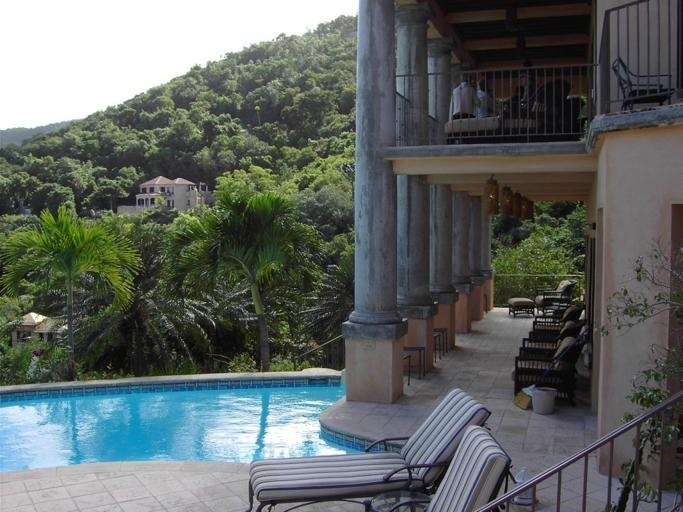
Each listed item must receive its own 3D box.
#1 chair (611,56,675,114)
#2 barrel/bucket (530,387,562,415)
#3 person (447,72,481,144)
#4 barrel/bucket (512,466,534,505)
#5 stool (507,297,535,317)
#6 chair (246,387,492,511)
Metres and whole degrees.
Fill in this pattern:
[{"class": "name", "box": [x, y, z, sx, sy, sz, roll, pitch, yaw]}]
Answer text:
[{"class": "chair", "box": [3.873, -2.140, 8.470, 0.876, 0.956, 0.683, -1, 4, 25]}, {"class": "barrel/bucket", "box": [3.035, 2.144, 9.832, 0.305, 0.318, 0.352, 3, -11, -4]}, {"class": "person", "box": [2.114, -2.623, 11.644, 0.564, 1.082, 0.807, 0, 6, 10]}, {"class": "barrel/bucket", "box": [1.948, 2.421, 7.130, 0.176, 0.396, 0.570, 1, 6, 16]}, {"class": "stool", "box": [5.468, 1.533, 20.150, 0.484, 0.440, 0.789, -1, -2, 4]}, {"class": "chair", "box": [0.259, 1.882, 6.963, 2.341, 1.195, 1.219, 1, -3, -3]}]
